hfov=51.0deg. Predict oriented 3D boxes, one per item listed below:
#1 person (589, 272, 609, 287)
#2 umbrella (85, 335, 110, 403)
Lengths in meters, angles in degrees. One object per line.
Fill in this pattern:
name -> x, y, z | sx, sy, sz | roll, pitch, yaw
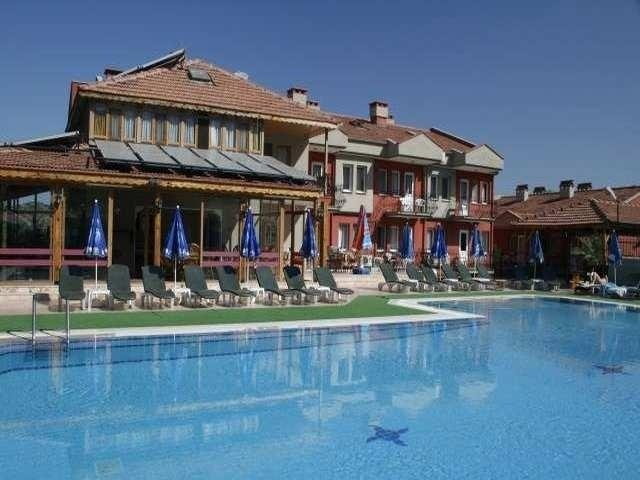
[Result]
person -> 13.114, 1.825, 31.322 | 1.016, 0.392, 0.753 | 2, 2, -40
umbrella -> -5.431, 2.981, 16.405 | 0.613, 0.291, 2.952 | -2, 15, -18
